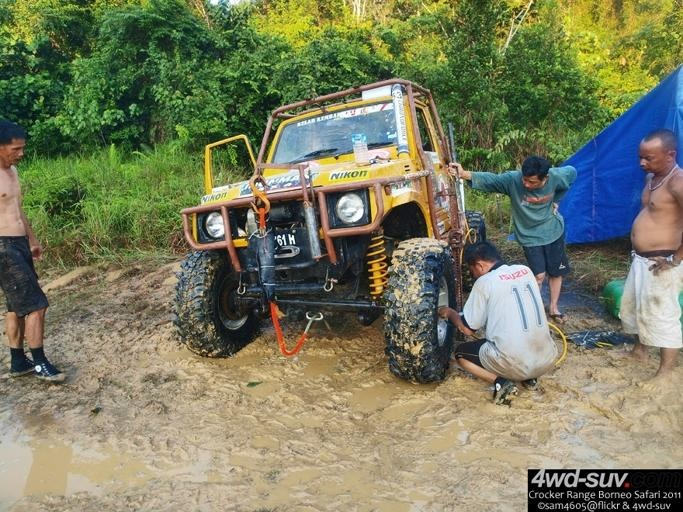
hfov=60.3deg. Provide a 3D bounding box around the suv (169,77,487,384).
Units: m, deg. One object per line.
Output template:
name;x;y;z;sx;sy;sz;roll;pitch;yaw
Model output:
suv;0.247;-0.345;7.612;2.738;2.639;4.000;-1;2;22

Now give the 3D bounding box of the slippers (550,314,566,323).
slippers;2.709;0.766;7.326;0.083;0.053;0.151;-10;9;-41

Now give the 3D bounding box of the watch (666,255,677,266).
watch;3.299;0.039;5.879;0.097;0.068;0.071;19;-6;-3
